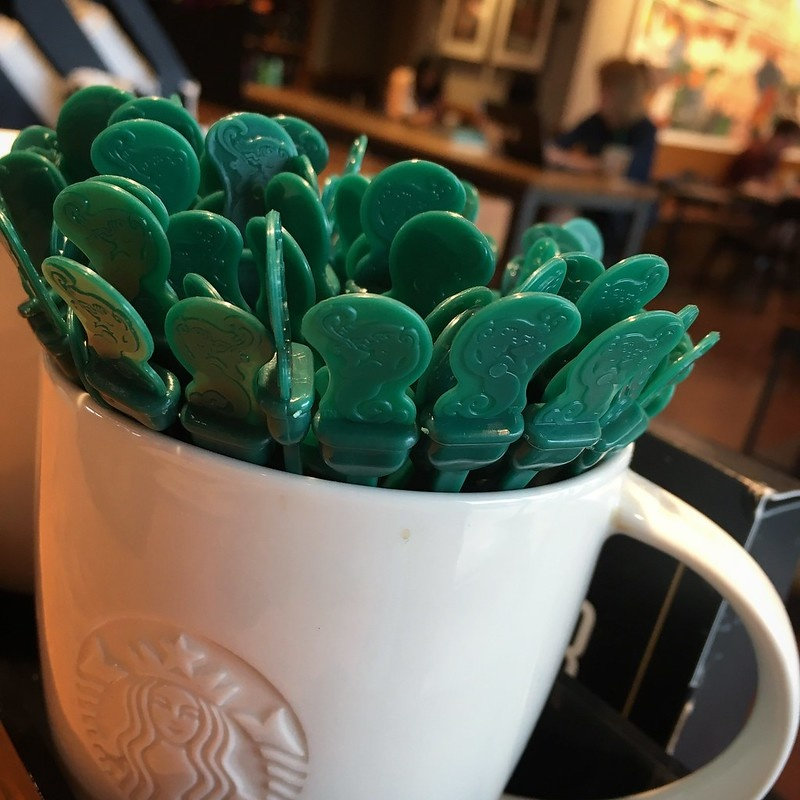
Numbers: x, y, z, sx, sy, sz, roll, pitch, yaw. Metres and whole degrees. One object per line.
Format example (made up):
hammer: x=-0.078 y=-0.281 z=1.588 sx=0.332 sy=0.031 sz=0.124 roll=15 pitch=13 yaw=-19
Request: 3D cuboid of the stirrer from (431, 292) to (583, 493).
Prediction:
stirrer: x=0.031 y=0.007 z=0.270 sx=0.044 sy=0.080 sz=0.016 roll=3 pitch=24 yaw=0

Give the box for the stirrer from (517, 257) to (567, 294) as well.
stirrer: x=0.046 y=-0.039 z=0.279 sx=0.012 sy=0.021 sz=0.005 roll=-43 pitch=81 yaw=9

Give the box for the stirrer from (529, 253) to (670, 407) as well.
stirrer: x=0.062 y=-0.031 z=0.286 sx=0.063 sy=0.006 sz=0.016 roll=-25 pitch=94 yaw=-22

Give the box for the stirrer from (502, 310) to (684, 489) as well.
stirrer: x=0.051 y=0.008 z=0.307 sx=0.026 sy=0.094 sz=0.024 roll=31 pitch=25 yaw=-24
